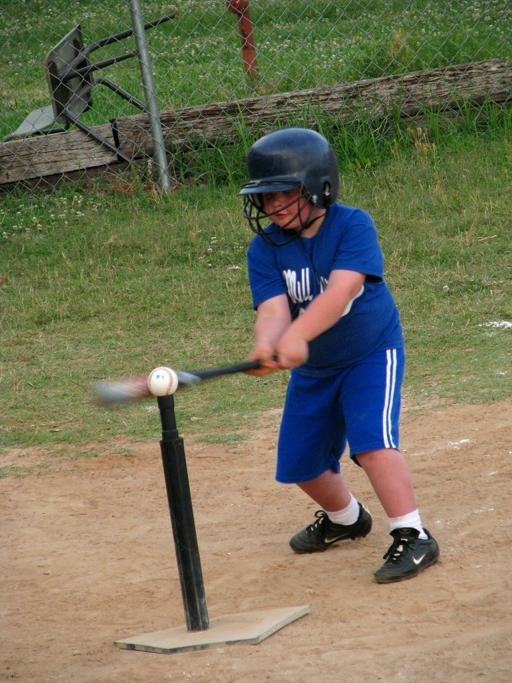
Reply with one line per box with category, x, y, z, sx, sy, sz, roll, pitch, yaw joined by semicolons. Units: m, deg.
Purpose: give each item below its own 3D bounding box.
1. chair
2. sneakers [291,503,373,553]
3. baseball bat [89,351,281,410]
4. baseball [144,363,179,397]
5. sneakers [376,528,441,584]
chair;-0.884;-2.120;7.739;2.141;1.110;0.904;7;33;5
sneakers;0.252;0.690;3.480;0.401;0.155;0.117;-12;42;3
baseball bat;-0.281;0.178;4.067;1.054;0.123;0.130;-9;-34;-27
baseball;-0.244;0.107;2.520;0.097;0.074;0.080;8;-32;5
sneakers;0.521;0.691;3.124;0.321;0.126;0.108;-20;17;-41
